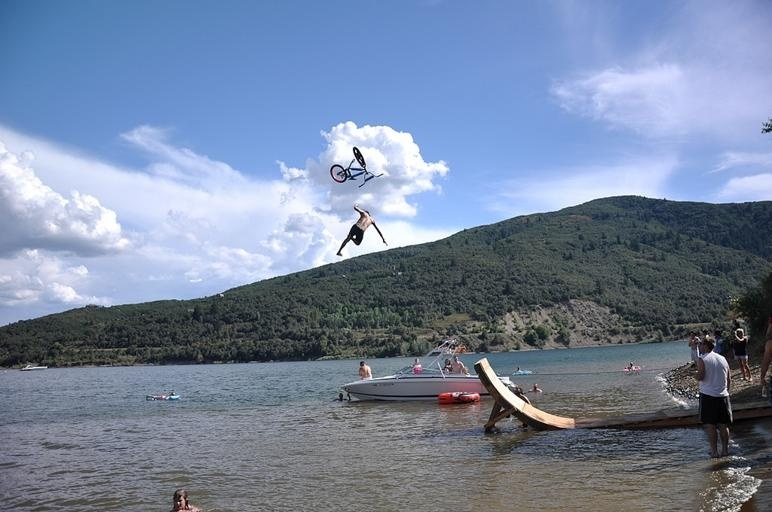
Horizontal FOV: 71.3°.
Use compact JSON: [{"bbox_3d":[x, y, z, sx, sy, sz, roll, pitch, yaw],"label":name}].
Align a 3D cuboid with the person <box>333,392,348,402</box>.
[{"bbox_3d":[-3.753,11.892,44.995,1.208,0.549,1.501,2,-7,-1],"label":"person"}]
